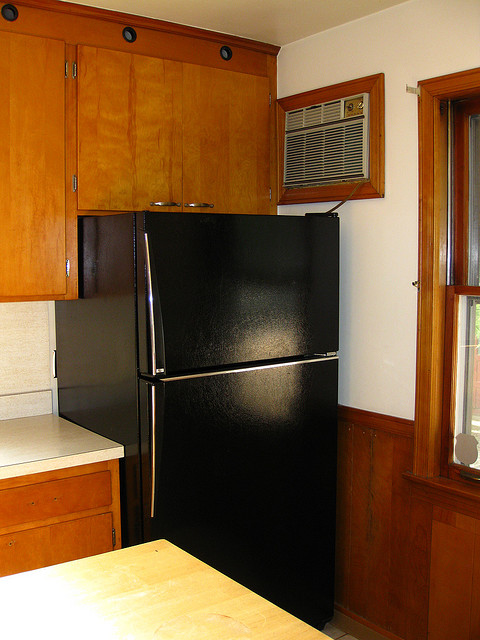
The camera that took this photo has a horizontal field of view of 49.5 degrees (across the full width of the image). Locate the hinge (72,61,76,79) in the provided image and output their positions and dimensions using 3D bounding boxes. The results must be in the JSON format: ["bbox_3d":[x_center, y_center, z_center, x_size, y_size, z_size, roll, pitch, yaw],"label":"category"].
[{"bbox_3d":[-0.616,-0.929,1.937,0.013,0.060,0.007,2,-5,-30],"label":"hinge"}]

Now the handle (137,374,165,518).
[{"bbox_3d":[-0.287,0.422,1.653,0.100,0.495,0.062,2,-3,-39],"label":"handle"}]

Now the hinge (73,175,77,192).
[{"bbox_3d":[-0.623,-0.519,1.971,0.013,0.062,0.016,1,-4,-14],"label":"hinge"}]

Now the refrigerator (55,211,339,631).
[{"bbox_3d":[-0.058,0.419,1.962,1.068,1.657,0.548,2,-4,-25],"label":"refrigerator"}]

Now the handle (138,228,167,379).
[{"bbox_3d":[-0.296,-0.075,1.674,0.039,0.523,0.108,6,-12,-44],"label":"handle"}]

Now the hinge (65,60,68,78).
[{"bbox_3d":[-0.638,-0.926,1.919,0.005,0.065,0.013,-3,-5,38],"label":"hinge"}]
